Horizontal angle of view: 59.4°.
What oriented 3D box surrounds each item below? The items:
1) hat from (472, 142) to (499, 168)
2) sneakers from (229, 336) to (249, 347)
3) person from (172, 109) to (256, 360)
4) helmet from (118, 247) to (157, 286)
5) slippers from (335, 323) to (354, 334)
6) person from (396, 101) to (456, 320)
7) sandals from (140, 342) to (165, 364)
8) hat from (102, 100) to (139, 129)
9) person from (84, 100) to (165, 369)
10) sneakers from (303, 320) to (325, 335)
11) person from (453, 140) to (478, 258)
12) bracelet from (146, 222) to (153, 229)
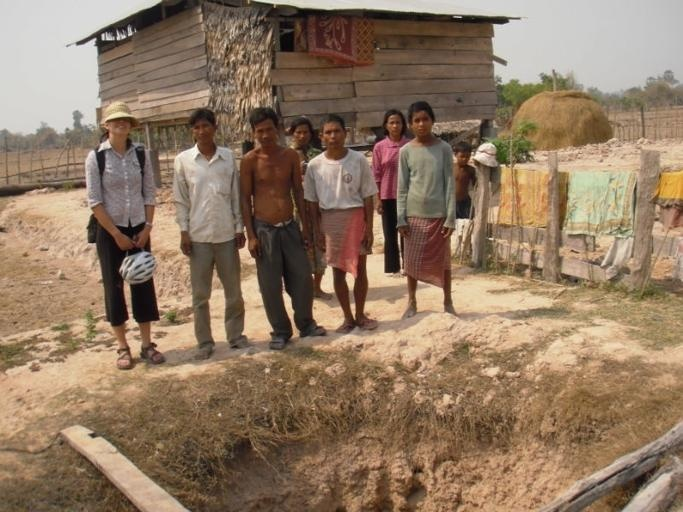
[{"bbox_3d":[1.946,-1.371,8.175,0.258,0.323,0.363,-12,14,-43],"label":"hat"},{"bbox_3d":[-1.065,0.901,6.303,0.181,0.131,0.103,7,-10,-39],"label":"sneakers"},{"bbox_3d":[-1.320,-0.225,6.121,0.665,2.497,0.382,-6,11,-16],"label":"person"},{"bbox_3d":[-1.981,0.120,5.866,0.323,0.332,0.276,-8,12,-28],"label":"helmet"},{"bbox_3d":[0.038,0.772,6.403,0.194,0.170,0.085,4,0,-5],"label":"slippers"},{"bbox_3d":[0.901,-0.472,6.410,0.616,2.306,0.395,-1,10,10],"label":"person"},{"bbox_3d":[-1.934,1.004,6.132,0.129,0.147,0.348,-13,15,-36],"label":"sandals"},{"bbox_3d":[-2.191,-1.420,5.948,0.312,0.258,0.462,-6,10,-18],"label":"hat"},{"bbox_3d":[-2.163,-0.206,6.014,0.658,2.639,0.547,-6,11,-18],"label":"person"},{"bbox_3d":[-0.290,0.772,6.428,0.227,0.106,0.124,-8,-5,33],"label":"sneakers"},{"bbox_3d":[1.826,-0.867,8.984,0.462,1.766,0.453,-15,31,-14],"label":"person"},{"bbox_3d":[-1.919,-0.311,6.003,0.051,0.028,0.062,10,2,-5],"label":"bracelet"}]
